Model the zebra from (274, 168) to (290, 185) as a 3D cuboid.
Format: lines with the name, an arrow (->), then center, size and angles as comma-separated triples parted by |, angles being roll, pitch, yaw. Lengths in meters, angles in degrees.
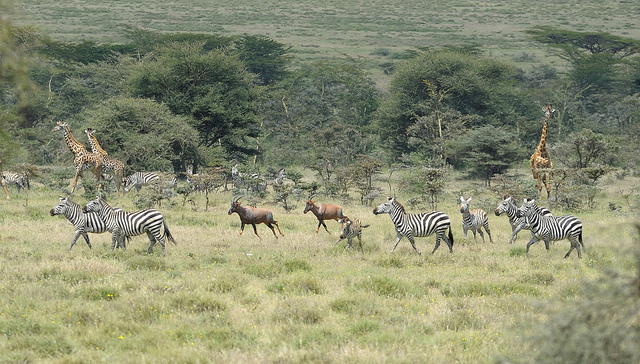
zebra -> -6.833, -0.653, 164.259 | 1.987, 3.150, 1.548 | 3, -30, 7

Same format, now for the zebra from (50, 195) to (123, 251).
zebra -> -34.472, 6.699, 140.975 | 11.342, 7.881, 3.351 | 5, -1, -21

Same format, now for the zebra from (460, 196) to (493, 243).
zebra -> 23.267, 5.553, 143.190 | 4.457, 6.485, 1.996 | 2, 11, 8

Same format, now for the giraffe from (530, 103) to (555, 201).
giraffe -> 36.116, -4.755, 154.281 | 3.277, 15.420, 8.953 | 3, 11, 14

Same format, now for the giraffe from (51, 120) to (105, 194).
giraffe -> -38.457, -3.810, 152.391 | 6.338, 11.408, 3.447 | -1, 11, -9

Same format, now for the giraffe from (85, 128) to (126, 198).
giraffe -> -34.878, -2.975, 155.974 | 5.892, 11.412, 8.225 | 1, 0, -4
